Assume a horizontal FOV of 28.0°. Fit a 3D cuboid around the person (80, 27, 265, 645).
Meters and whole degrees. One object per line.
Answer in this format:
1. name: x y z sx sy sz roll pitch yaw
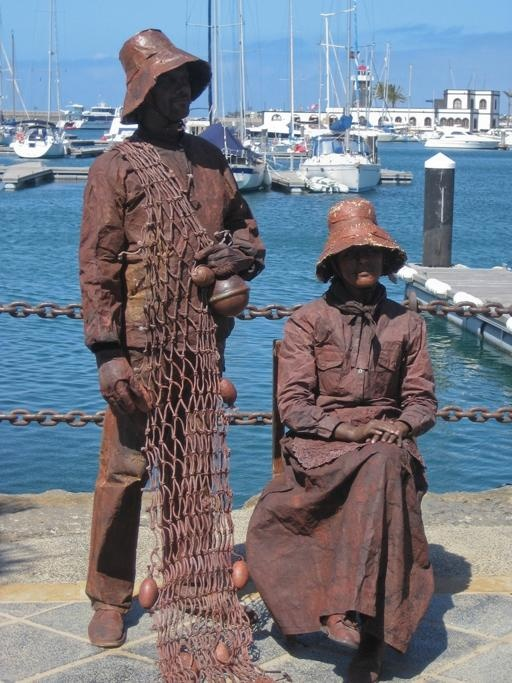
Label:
1. person: -0.345 -0.024 3.705 0.604 2.149 0.809 5 14 15
